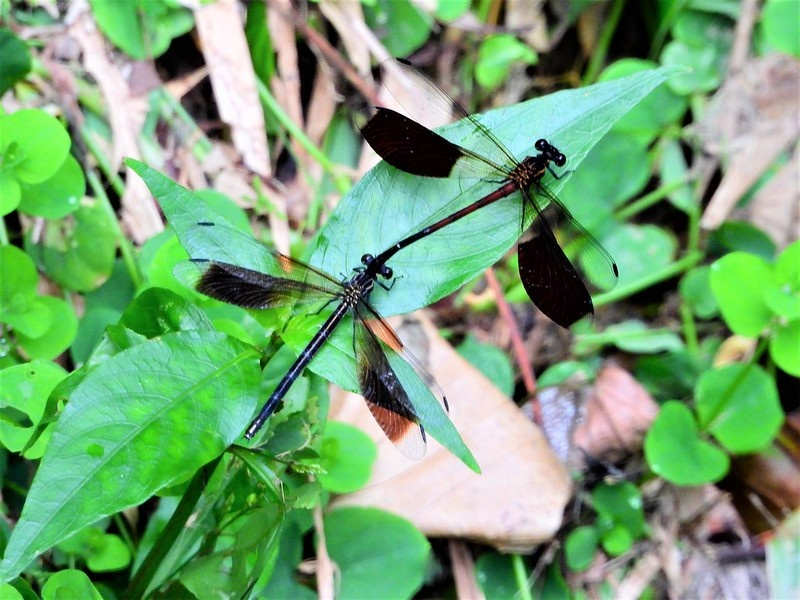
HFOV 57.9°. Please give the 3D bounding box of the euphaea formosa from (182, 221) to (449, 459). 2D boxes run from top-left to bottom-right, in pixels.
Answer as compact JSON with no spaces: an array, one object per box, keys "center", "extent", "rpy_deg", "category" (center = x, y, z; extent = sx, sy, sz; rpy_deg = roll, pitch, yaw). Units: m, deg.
[{"center":[-0.220,0.103,1.781],"extent":[0.577,0.561,0.163],"rpy_deg":[35,-2,5],"category":"euphaea formosa"}]
